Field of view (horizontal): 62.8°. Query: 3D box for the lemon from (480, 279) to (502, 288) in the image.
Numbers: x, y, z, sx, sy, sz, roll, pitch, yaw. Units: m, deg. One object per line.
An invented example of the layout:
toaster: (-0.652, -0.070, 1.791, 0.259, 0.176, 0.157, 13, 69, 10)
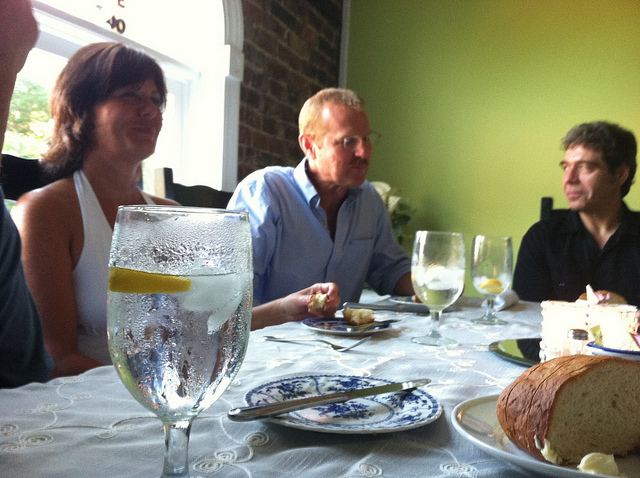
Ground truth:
lemon: (0.452, 0.119, 1.391, 0.055, 0.024, 0.022, 3, 1, 17)

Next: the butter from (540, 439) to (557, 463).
butter: (0.258, 0.243, 0.592, 0.023, 0.023, 0.007, 44, -14, -31)

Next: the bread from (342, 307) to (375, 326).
bread: (0.087, 0.177, 1.193, 0.043, 0.019, 0.041, 3, 4, -38)

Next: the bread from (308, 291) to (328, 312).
bread: (-0.007, 0.154, 1.276, 0.015, 0.045, 0.033, 37, -1, -38)

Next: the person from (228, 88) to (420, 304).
person: (0.020, -0.183, 2.115, 0.740, 0.720, 0.396, 3, 1, -20)

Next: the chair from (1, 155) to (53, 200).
chair: (-0.902, -0.170, 1.628, 0.126, 0.133, 0.149, 3, -11, -41)

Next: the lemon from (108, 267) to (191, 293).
lemon: (-0.174, 0.043, 0.522, 0.092, 0.017, 0.021, 3, 0, 19)

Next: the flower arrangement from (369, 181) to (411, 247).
flower arrangement: (0.532, -0.213, 4.016, 0.314, 0.452, 0.824, 3, 0, 7)

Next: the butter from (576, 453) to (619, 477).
butter: (0.302, 0.246, 0.568, 0.029, 0.013, 0.032, -5, -5, 26)
